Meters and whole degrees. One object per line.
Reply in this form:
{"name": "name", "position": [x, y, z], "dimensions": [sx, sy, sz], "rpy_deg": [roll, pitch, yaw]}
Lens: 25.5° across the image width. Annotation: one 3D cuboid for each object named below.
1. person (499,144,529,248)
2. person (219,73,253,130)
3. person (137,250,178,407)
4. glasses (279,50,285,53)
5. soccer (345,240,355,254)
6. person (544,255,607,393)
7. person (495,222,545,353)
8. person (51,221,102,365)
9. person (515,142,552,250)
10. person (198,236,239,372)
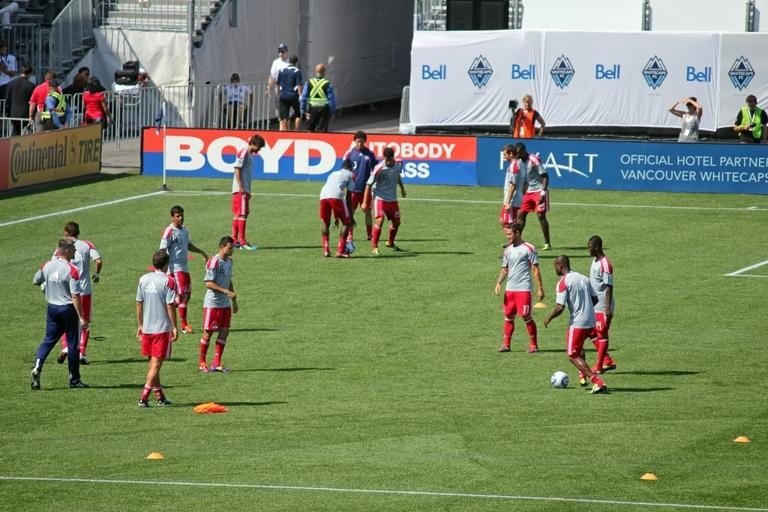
{"name": "person", "position": [3.182, -1.526, 44.111], "dimensions": [0.766, 2.686, 1.087], "rpy_deg": [1, 2, 5]}
{"name": "person", "position": [-5.017, -5.149, 57.130], "dimensions": [1.028, 1.814, 1.514], "rpy_deg": [-1, 9, -5]}
{"name": "person", "position": [-4.865, 1.553, 35.698], "dimensions": [0.948, 3.214, 1.195], "rpy_deg": [2, 1, 33]}
{"name": "glasses", "position": [-3.312, -6.534, 54.641], "dimensions": [0.222, 0.085, 0.307], "rpy_deg": [1, 8, 9]}
{"name": "soccer", "position": [-0.913, -0.215, 44.305], "dimensions": [0.184, 0.401, 0.430], "rpy_deg": [2, 10, 14]}
{"name": "person", "position": [4.156, 1.460, 36.380], "dimensions": [1.271, 2.874, 0.805], "rpy_deg": [2, 9, 13]}
{"name": "person", "position": [3.064, 0.663, 38.348], "dimensions": [1.029, 3.041, 1.195], "rpy_deg": [0, 0, 5]}
{"name": "person", "position": [-6.536, 0.786, 37.573], "dimensions": [0.781, 3.070, 1.108], "rpy_deg": [1, -6, -31]}
{"name": "person", "position": [3.808, -1.557, 44.509], "dimensions": [0.923, 2.855, 1.143], "rpy_deg": [1, 1, 5]}
{"name": "person", "position": [-3.673, 1.078, 37.133], "dimensions": [0.828, 2.910, 1.075], "rpy_deg": [-1, 9, -7]}
